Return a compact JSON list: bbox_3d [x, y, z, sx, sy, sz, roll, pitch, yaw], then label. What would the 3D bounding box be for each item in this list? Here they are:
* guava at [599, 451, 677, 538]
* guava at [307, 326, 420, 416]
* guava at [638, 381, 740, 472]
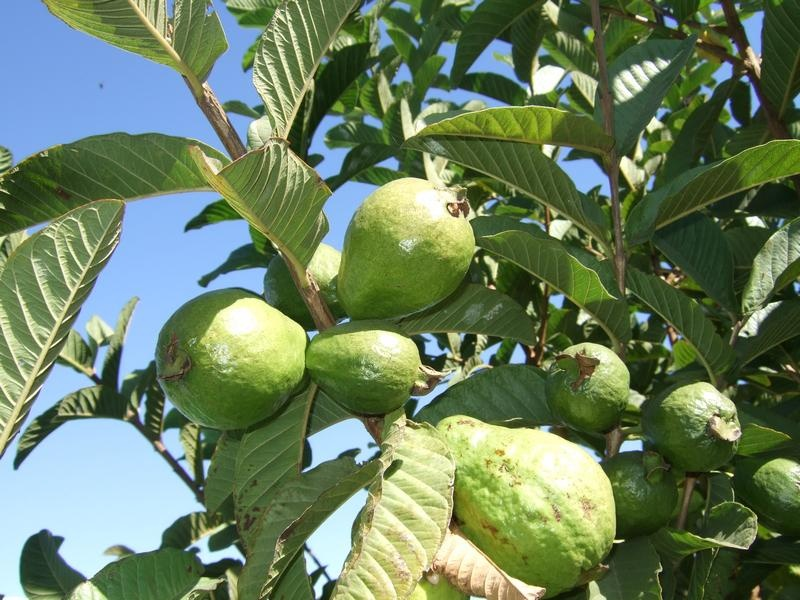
[{"bbox_3d":[0.885,0.733,3.551,0.242,0.324,0.257,9,-7,30],"label":"guava"},{"bbox_3d":[-0.131,0.263,3.515,0.417,0.358,0.351,4,15,-10],"label":"guava"},{"bbox_3d":[1.045,0.482,3.565,0.277,0.339,0.341,20,-19,-20],"label":"guava"}]
